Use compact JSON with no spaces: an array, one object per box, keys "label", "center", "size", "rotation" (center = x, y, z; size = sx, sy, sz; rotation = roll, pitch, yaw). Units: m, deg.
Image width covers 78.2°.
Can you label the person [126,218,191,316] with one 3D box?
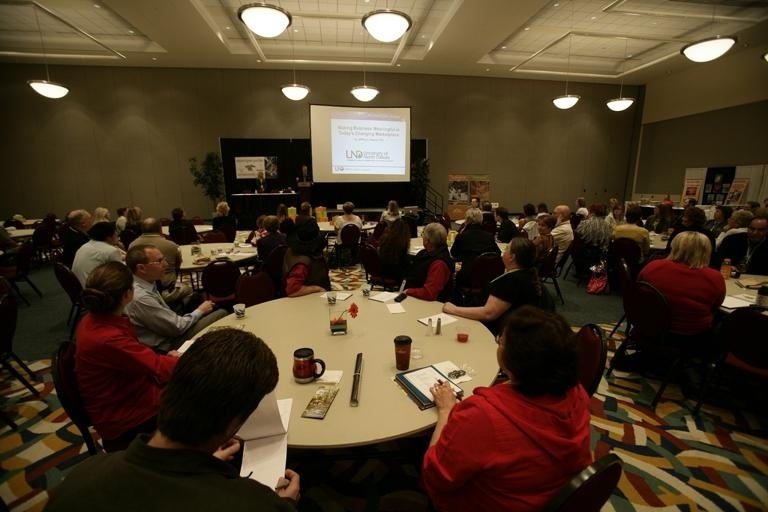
[{"label":"person","center":[-3.791,0.278,7.994],"size":[0.895,1.931,0.827],"rotation":[-4,29,-26]}]

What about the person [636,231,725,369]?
[{"label":"person","center":[4.058,0.503,6.378],"size":[0.964,1.649,0.344],"rotation":[1,11,1]}]

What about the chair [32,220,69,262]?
[{"label":"chair","center":[-7.387,-0.294,10.457],"size":[0.582,0.966,0.675],"rotation":[-11,36,-35]}]

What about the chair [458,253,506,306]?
[{"label":"chair","center":[1.512,0.361,7.214],"size":[0.587,1.122,0.687],"rotation":[-1,20,0]}]

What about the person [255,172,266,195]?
[{"label":"person","center":[-3.850,-2.310,14.822],"size":[0.307,0.627,1.203],"rotation":[-2,13,-14]}]

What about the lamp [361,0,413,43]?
[{"label":"lamp","center":[0.037,-4.286,8.778],"size":[0.674,0.265,0.712],"rotation":[1,6,14]}]

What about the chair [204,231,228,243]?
[{"label":"chair","center":[-3.504,-0.404,9.774],"size":[0.303,0.326,0.286],"rotation":[-7,10,-41]}]

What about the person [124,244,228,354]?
[{"label":"person","center":[-2.853,0.609,6.441],"size":[0.859,1.470,0.555],"rotation":[-25,42,-32]}]

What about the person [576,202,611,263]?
[{"label":"person","center":[4.264,-0.400,9.500],"size":[0.719,1.290,0.629],"rotation":[-13,18,-32]}]

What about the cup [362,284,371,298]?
[{"label":"cup","center":[-0.248,0.500,6.578],"size":[0.142,0.119,0.132],"rotation":[2,2,0]}]

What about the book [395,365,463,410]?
[{"label":"book","center":[0.430,1.453,5.271],"size":[0.452,0.096,0.459],"rotation":[-10,35,-32]}]

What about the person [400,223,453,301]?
[{"label":"person","center":[0.614,0.134,6.984],"size":[0.618,1.237,0.881],"rotation":[15,15,11]}]

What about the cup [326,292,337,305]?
[{"label":"cup","center":[-0.703,0.588,6.438],"size":[0.130,0.160,0.132],"rotation":[0,6,0]}]

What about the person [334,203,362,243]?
[{"label":"person","center":[-0.767,-0.715,10.421],"size":[0.595,0.941,0.693],"rotation":[-5,13,-24]}]

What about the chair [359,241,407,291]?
[{"label":"chair","center":[0.007,0.175,7.753],"size":[0.513,0.855,0.487],"rotation":[-28,35,-36]}]

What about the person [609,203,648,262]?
[{"label":"person","center":[4.721,-0.400,8.986],"size":[0.680,1.144,0.605],"rotation":[10,17,38]}]

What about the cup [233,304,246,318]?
[{"label":"cup","center":[-1.864,0.708,6.140],"size":[0.141,0.136,0.158],"rotation":[10,16,38]}]

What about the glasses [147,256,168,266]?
[{"label":"glasses","center":[-2.970,0.070,6.201],"size":[0.140,0.086,0.114],"rotation":[-6,11,-5]}]

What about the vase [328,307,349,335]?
[{"label":"vase","center":[-0.554,0.815,5.952],"size":[0.242,0.353,0.253],"rotation":[2,12,4]}]

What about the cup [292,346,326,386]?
[{"label":"cup","center":[-0.872,1.249,5.354],"size":[0.427,0.330,0.270],"rotation":[4,7,19]}]

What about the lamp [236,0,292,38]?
[{"label":"lamp","center":[-2.213,-4.369,8.723],"size":[0.954,0.462,0.612],"rotation":[-3,13,-18]}]

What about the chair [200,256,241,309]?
[{"label":"chair","center":[-2.585,0.444,7.456],"size":[0.535,1.042,0.624],"rotation":[0,36,-10]}]
